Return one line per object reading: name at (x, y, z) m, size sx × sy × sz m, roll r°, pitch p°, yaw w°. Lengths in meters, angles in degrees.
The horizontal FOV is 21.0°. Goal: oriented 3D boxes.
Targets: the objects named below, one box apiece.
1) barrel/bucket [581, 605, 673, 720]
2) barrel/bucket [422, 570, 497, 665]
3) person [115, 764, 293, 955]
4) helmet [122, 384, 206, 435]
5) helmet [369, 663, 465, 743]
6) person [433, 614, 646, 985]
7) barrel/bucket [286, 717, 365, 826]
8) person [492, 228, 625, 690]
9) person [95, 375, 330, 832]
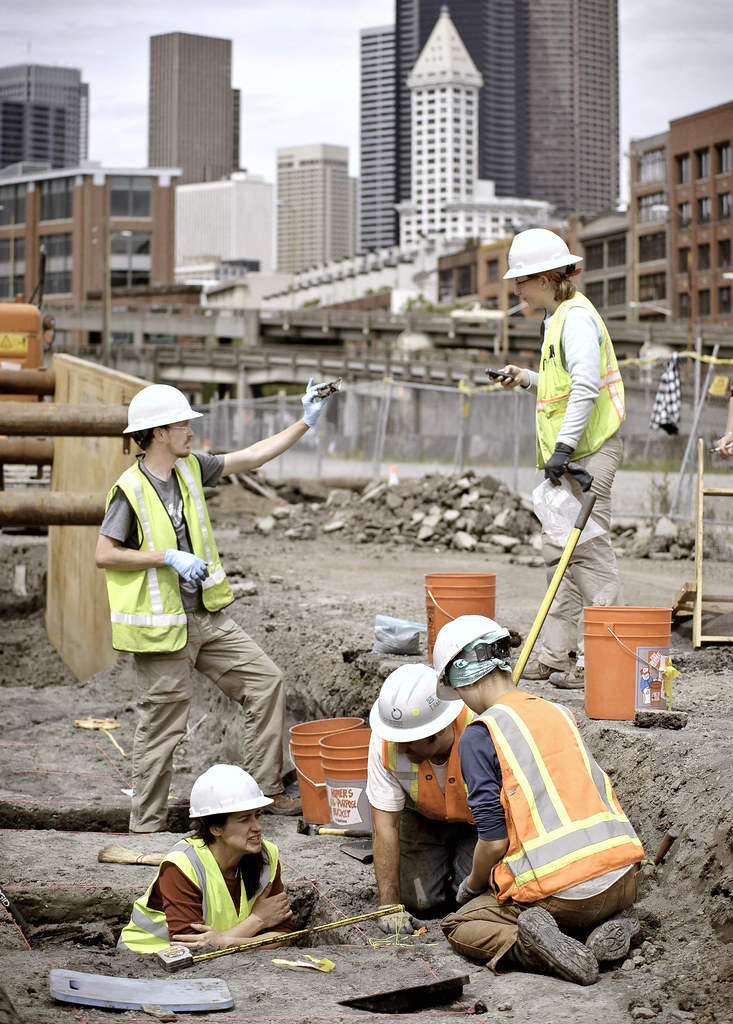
barrel/bucket at (1.057, 0.620, 8.316) m, size 0.492 × 0.436 × 0.505 m, roll 2°, pitch 2°, yaw 0°
barrel/bucket at (0.425, 0.484, 9.111) m, size 0.281 × 0.405 × 0.276 m, roll 0°, pitch 2°, yaw 0°
person at (-0.556, 1.226, 7.103) m, size 0.644 × 0.789 × 0.542 m, roll -3°, pitch 0°, yaw 33°
helmet at (-0.877, -0.439, 8.473) m, size 0.286 × 0.206 × 0.514 m, roll -1°, pitch 4°, yaw -6°
helmet at (0.173, 0.665, 7.171) m, size 0.242 × 0.145 × 0.294 m, roll -1°, pitch 23°, yaw 26°
person at (0.557, 0.971, 6.760) m, size 0.746 × 1.186 × 0.433 m, roll 2°, pitch 4°, yaw 34°
barrel/bucket at (-0.190, 1.104, 8.661) m, size 0.389 × 0.447 × 0.391 m, roll -1°, pitch 10°, yaw 0°
person at (0.849, -0.283, 8.867) m, size 0.586 × 1.942 × 0.695 m, roll -1°, pitch 6°, yaw -2°
person at (-0.824, 0.344, 8.680) m, size 0.871 × 1.997 × 0.882 m, roll -4°, pitch 18°, yaw -33°
